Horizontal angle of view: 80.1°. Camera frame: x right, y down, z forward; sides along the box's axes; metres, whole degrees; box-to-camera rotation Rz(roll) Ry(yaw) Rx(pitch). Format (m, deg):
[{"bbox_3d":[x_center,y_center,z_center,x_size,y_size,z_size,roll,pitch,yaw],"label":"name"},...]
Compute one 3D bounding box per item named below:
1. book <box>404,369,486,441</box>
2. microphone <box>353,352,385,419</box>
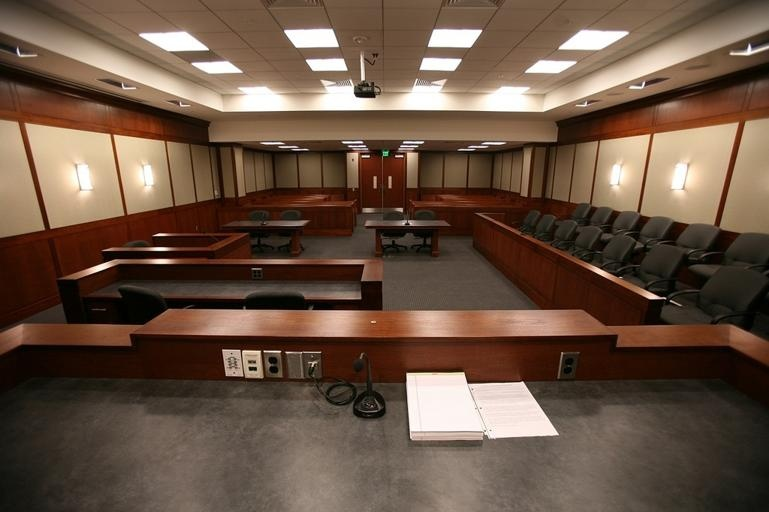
[{"bbox_3d":[0.471,1.161,3.579,0.582,0.384,0.420,1,12,0],"label":"book"},{"bbox_3d":[-0.120,1.009,3.630,0.251,0.457,0.304,0,13,-2],"label":"microphone"}]
